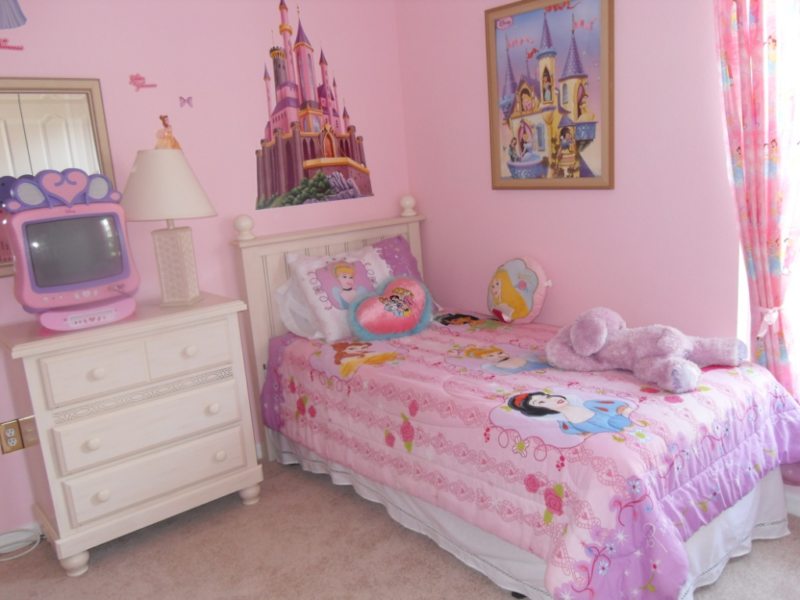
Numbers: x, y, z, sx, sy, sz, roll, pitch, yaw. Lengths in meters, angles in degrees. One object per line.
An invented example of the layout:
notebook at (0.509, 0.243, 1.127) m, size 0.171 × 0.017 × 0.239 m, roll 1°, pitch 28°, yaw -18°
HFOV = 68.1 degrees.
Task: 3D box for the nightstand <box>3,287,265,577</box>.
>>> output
nightstand at (-1.267, 0.621, 2.726) m, size 0.991 × 1.136 × 0.509 m, roll -14°, pitch 18°, yaw -40°

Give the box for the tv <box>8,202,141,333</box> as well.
tv at (-1.445, -0.150, 2.623) m, size 0.477 × 0.534 × 0.275 m, roll -11°, pitch 10°, yaw -41°

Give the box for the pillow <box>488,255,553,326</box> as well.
pillow at (0.654, -0.050, 3.309) m, size 0.313 × 0.333 × 0.186 m, roll -4°, pitch 15°, yaw 6°
